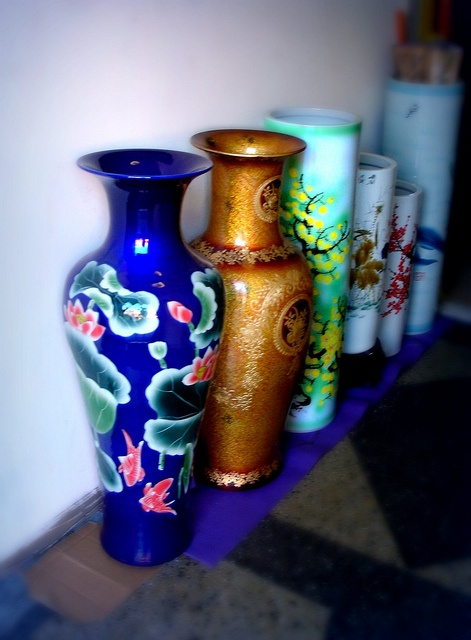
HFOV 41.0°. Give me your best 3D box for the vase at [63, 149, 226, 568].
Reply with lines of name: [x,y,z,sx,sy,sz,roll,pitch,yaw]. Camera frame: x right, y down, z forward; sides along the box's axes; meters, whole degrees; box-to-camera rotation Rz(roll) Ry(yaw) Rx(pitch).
vase: [-0.128,0.073,0.898,0.210,0.606,0.178,-6,26,-19]
